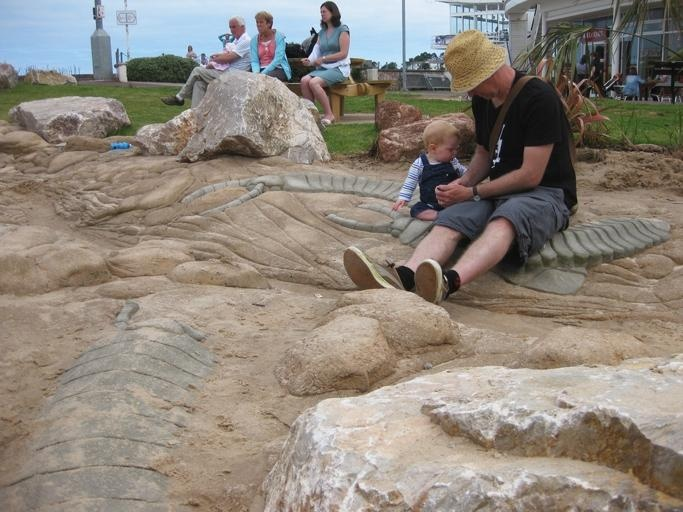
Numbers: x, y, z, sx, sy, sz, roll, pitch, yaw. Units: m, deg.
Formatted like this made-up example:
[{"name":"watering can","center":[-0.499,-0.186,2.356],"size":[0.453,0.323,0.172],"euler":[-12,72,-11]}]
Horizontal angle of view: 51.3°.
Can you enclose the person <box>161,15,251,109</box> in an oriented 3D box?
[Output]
[{"name":"person","center":[-1.789,-2.682,9.873],"size":[1.065,1.204,1.387],"euler":[-2,16,-5]}]

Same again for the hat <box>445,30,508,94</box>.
[{"name":"hat","center":[0.872,-1.283,4.674],"size":[0.404,0.396,0.242],"euler":[2,18,8]}]

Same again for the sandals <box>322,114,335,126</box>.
[{"name":"sandals","center":[-0.201,-2.063,10.878],"size":[0.158,0.105,0.307],"euler":[-1,6,9]}]

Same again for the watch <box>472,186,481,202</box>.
[{"name":"watch","center":[0.919,-0.423,4.894],"size":[0.072,0.103,0.089],"euler":[-9,56,6]}]

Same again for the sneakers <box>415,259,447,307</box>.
[{"name":"sneakers","center":[0.557,0.163,4.475],"size":[0.181,0.289,0.153],"euler":[3,12,20]}]

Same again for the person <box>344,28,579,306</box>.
[{"name":"person","center":[0.797,-0.593,4.772],"size":[0.997,1.335,1.782],"euler":[7,39,43]}]

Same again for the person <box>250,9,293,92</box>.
[{"name":"person","center":[-1.016,-2.987,10.194],"size":[0.573,0.946,0.483],"euler":[-3,18,-9]}]

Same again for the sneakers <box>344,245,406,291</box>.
[{"name":"sneakers","center":[0.218,0.094,4.749],"size":[0.356,0.113,0.164],"euler":[36,41,14]}]

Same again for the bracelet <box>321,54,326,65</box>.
[{"name":"bracelet","center":[-0.270,-2.901,10.494],"size":[0.086,0.111,0.097],"euler":[-4,46,0]}]

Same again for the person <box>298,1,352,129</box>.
[{"name":"person","center":[-0.245,-2.832,10.630],"size":[0.721,1.747,0.855],"euler":[-1,18,-1]}]
